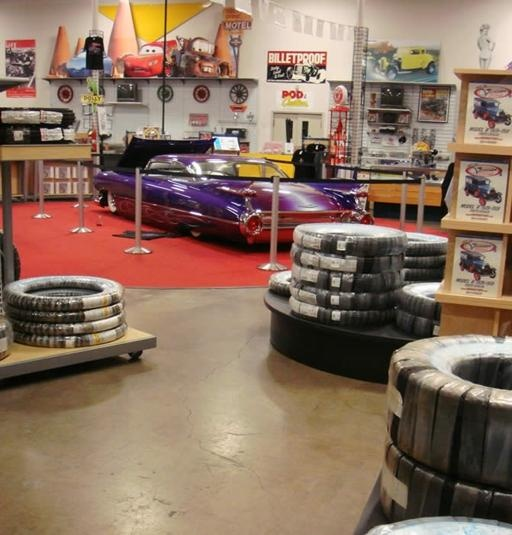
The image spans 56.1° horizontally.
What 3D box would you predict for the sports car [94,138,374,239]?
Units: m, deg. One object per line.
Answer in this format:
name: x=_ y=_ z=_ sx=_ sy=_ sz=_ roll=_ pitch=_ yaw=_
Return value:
sports car: x=-0.645 y=-1.074 z=6.411 sx=1.847 sy=0.934 sz=3.634 roll=-11 pitch=20 yaw=-40
